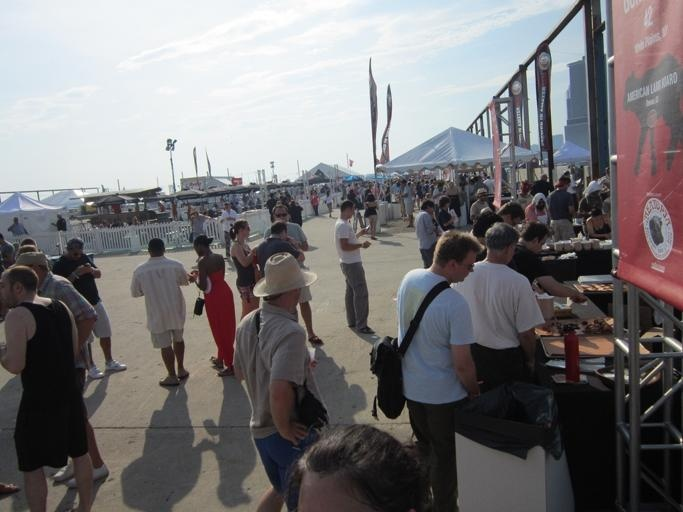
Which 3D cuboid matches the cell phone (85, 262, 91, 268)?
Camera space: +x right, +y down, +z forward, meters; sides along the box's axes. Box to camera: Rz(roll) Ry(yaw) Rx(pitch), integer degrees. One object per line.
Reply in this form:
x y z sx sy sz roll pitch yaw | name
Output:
-3.437 0.125 6.695 0.090 0.069 0.093 0 -4 28 | cell phone

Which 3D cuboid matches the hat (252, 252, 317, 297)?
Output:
-0.412 0.123 3.573 0.317 0.166 0.391 -17 24 12 | hat

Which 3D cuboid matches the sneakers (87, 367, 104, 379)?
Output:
-3.544 1.669 7.090 0.265 0.125 0.105 4 6 39 | sneakers

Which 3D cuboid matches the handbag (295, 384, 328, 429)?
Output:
-0.210 1.050 3.425 0.214 0.327 0.182 -5 11 -5 | handbag

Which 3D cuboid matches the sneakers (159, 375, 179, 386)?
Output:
-2.322 1.698 6.718 0.279 0.157 0.112 6 3 18 | sneakers

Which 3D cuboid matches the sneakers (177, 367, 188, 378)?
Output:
-2.195 1.620 6.848 0.071 0.142 0.192 -1 11 7 | sneakers

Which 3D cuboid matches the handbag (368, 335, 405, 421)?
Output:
0.373 0.965 3.938 0.254 0.624 0.225 -3 10 4 | handbag

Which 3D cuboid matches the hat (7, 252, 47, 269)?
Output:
-3.123 0.044 4.965 0.262 0.182 0.224 -14 15 -37 | hat

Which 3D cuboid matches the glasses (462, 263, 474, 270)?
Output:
0.981 0.082 3.772 0.051 0.064 0.017 5 3 -1 | glasses

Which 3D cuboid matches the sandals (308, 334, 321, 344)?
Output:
-0.407 1.295 7.663 0.185 0.087 0.103 9 14 34 | sandals

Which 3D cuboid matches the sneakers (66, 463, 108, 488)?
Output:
-2.522 2.158 4.872 0.404 0.118 0.230 -9 13 -18 | sneakers

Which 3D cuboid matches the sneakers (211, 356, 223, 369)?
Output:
-1.764 1.499 7.060 0.165 0.193 0.080 12 44 26 | sneakers
